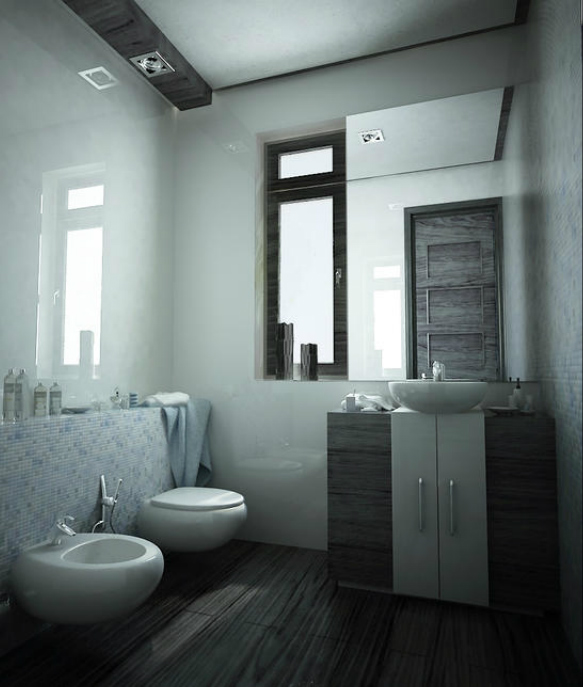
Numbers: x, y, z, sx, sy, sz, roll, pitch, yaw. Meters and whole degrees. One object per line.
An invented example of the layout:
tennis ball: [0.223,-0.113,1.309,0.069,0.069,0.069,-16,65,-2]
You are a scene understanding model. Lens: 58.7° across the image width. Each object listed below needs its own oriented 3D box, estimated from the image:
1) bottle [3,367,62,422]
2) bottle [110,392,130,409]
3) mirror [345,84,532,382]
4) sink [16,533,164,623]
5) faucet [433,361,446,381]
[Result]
bottle: [-1.024,0.206,2.043,0.059,0.152,0.185,-3,-7,11]
bottle: [-0.837,0.292,2.553,0.083,0.103,0.051,-3,-1,11]
mirror: [0.694,-0.531,2.579,0.856,1.433,0.122,0,-1,19]
sink: [-0.688,0.811,1.807,0.444,0.199,0.375,0,-1,30]
faucet: [0.688,0.131,2.461,0.071,0.123,0.078,0,-7,2]
